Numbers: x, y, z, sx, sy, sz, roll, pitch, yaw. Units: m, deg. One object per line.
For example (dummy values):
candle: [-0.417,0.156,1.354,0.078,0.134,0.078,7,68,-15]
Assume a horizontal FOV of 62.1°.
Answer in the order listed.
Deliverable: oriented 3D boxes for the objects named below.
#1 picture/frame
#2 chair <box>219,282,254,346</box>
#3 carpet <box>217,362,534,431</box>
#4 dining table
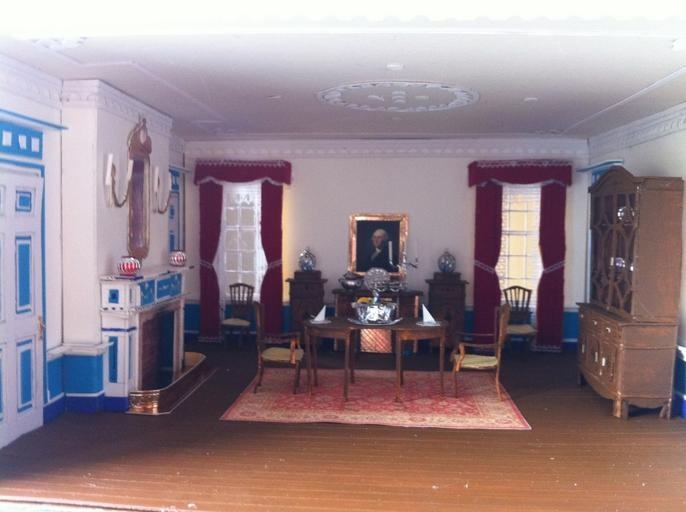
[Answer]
picture/frame: [0.659,-0.161,10.033,1.132,1.246,0.128,1,0,3]
chair: [-1.856,1.011,10.044,0.577,1.045,0.764,-1,9,-6]
carpet: [0.463,1.790,7.472,3.535,0.194,1.817,1,9,3]
dining table: [0.358,1.650,7.790,1.871,0.929,1.032,0,-1,-1]
